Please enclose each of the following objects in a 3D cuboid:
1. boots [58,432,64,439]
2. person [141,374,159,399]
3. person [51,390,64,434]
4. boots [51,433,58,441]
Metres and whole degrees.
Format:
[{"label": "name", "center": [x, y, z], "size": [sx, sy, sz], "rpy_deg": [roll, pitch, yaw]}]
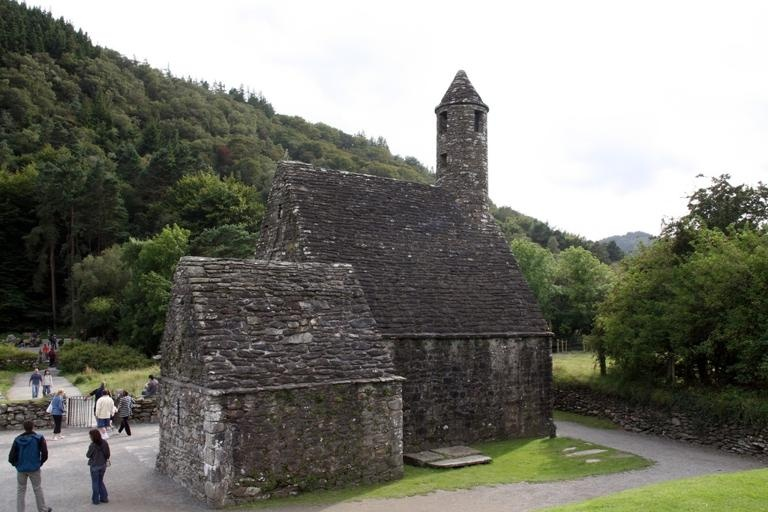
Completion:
[{"label": "boots", "center": [-17.778, 9.860, 35.764], "size": [0.452, 0.389, 0.188], "rpy_deg": [1, -1, -14]}, {"label": "person", "center": [-14.100, 7.702, 38.978], "size": [0.783, 1.475, 1.378], "rpy_deg": [-1, 4, -23]}, {"label": "person", "center": [-17.904, 8.522, 35.584], "size": [0.674, 2.647, 1.025], "rpy_deg": [-2, 5, -26]}, {"label": "boots", "center": [-17.999, 9.844, 35.500], "size": [0.537, 0.330, 0.221], "rpy_deg": [-3, -4, 8]}]
